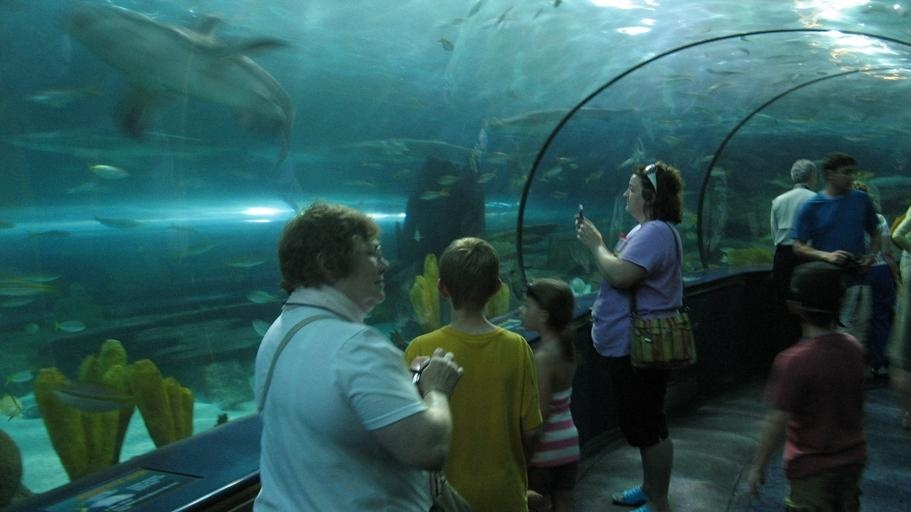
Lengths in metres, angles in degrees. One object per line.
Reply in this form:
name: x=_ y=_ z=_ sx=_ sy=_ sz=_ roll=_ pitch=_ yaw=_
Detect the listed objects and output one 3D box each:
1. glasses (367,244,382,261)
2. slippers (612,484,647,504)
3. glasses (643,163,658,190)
glasses: x=-0.957 y=-0.049 z=8.106 sx=0.215 sy=0.146 sz=0.149 roll=-2 pitch=0 yaw=4
slippers: x=2.337 y=3.242 z=9.640 sx=0.561 sy=0.175 sz=0.178 roll=0 pitch=-5 yaw=6
glasses: x=2.558 y=-1.023 z=9.335 sx=0.204 sy=0.295 sz=0.101 roll=2 pitch=8 yaw=37
